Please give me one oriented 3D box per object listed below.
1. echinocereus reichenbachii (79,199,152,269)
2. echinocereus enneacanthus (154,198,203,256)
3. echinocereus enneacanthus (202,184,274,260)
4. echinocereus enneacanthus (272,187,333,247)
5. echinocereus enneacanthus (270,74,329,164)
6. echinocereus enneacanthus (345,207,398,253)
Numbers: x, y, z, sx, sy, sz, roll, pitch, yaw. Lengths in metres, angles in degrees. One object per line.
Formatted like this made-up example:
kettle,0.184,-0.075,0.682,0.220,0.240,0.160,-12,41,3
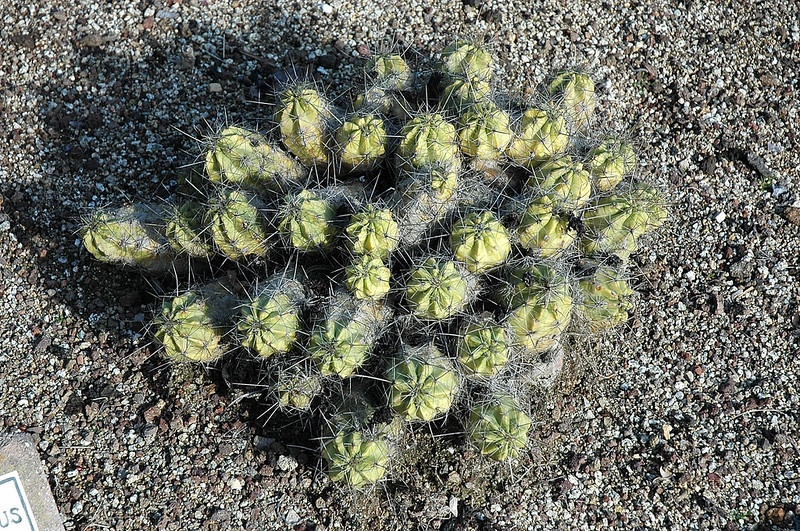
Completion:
echinocereus reichenbachii,-2.097,-0.217,6.191,0.531,0.351,0.452,-11,86,-2
echinocereus enneacanthus,-1.588,-0.266,6.087,0.298,0.204,0.401,-9,86,-2
echinocereus enneacanthus,-1.151,-0.304,5.999,0.433,0.656,0.497,-13,59,-8
echinocereus enneacanthus,-0.654,-0.319,5.806,0.407,0.159,0.401,10,85,-1
echinocereus enneacanthus,-0.717,-1.089,6.170,0.375,0.837,0.363,-28,59,-22
echinocereus enneacanthus,-0.197,-0.230,5.713,0.302,0.330,0.326,5,49,5
